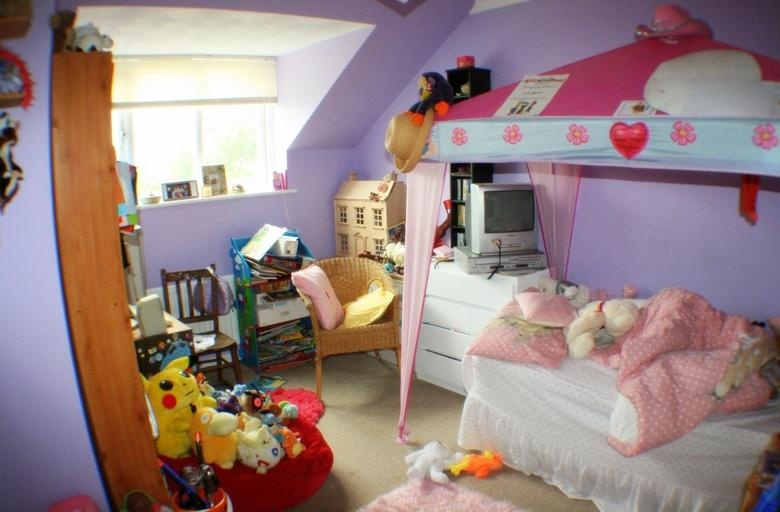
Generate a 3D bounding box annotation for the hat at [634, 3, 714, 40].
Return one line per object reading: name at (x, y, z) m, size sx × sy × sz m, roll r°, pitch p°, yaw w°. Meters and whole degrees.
hat at (1.493, -1.230, 2.793) m, size 0.365 × 0.201 × 0.163 m, roll 2°, pitch 7°, yaw 30°

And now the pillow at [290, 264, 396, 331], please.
pillow at (-0.435, 0.410, 4.801) m, size 0.676 × 0.324 × 0.675 m, roll -10°, pitch 20°, yaw -26°

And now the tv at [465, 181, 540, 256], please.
tv at (0.912, -0.332, 4.683) m, size 0.622 × 0.627 × 0.578 m, roll -2°, pitch 4°, yaw -14°

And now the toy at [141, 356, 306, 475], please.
toy at (-1.121, 1.051, 3.528) m, size 0.946 × 0.541 × 0.678 m, roll 13°, pitch 16°, yaw -1°

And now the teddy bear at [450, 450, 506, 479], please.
teddy bear at (0.629, 1.489, 3.757) m, size 0.266 × 0.118 × 0.186 m, roll -7°, pitch 6°, yaw -18°

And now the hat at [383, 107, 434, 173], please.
hat at (0.100, -0.714, 3.221) m, size 0.185 × 0.359 × 0.294 m, roll 9°, pitch 19°, yaw -18°

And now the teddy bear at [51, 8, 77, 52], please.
teddy bear at (-1.486, -1.021, 2.401) m, size 0.091 × 0.229 × 0.248 m, roll -5°, pitch 7°, yaw -29°

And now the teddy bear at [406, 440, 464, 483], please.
teddy bear at (0.234, 1.500, 3.743) m, size 0.365 × 0.149 × 0.325 m, roll 6°, pitch 10°, yaw 17°

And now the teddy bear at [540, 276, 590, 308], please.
teddy bear at (1.385, 0.270, 4.208) m, size 0.322 × 0.204 × 0.162 m, roll 23°, pitch 24°, yaw 33°

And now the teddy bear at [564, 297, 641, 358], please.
teddy bear at (1.474, 0.489, 3.704) m, size 0.506 × 0.206 × 0.339 m, roll -30°, pitch 39°, yaw 16°

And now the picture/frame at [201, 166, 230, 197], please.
picture/frame at (-1.778, -0.769, 5.348) m, size 0.235 × 0.320 × 0.141 m, roll -4°, pitch 7°, yaw -22°
